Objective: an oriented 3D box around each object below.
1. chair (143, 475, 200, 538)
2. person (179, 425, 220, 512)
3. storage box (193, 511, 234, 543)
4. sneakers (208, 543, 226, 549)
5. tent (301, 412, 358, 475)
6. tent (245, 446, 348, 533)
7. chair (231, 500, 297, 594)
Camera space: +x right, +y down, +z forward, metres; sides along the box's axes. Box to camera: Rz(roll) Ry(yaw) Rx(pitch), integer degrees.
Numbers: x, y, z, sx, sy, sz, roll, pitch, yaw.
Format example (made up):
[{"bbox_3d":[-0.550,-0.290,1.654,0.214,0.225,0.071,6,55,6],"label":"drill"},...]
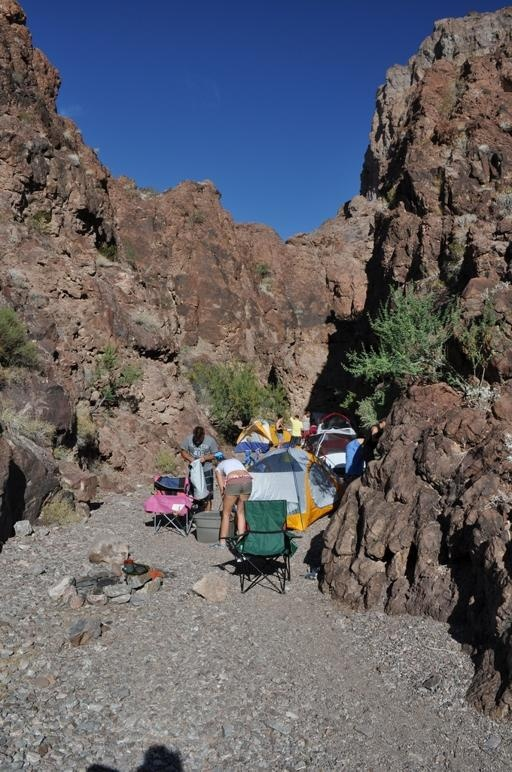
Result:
[{"bbox_3d":[-1.236,1.687,9.046,0.725,0.749,0.687,0,3,1],"label":"chair"},{"bbox_3d":[-0.807,1.244,9.347,0.537,1.355,0.469,-1,9,4],"label":"person"},{"bbox_3d":[-0.650,1.896,8.593,0.339,0.293,0.461,0,-17,2],"label":"storage box"},{"bbox_3d":[-0.521,2.091,8.376,0.233,0.107,0.083,4,-15,8],"label":"sneakers"},{"bbox_3d":[1.702,1.362,15.044,0.671,1.020,2.103,-3,-23,6],"label":"tent"},{"bbox_3d":[0.661,1.552,10.113,1.119,0.593,1.256,0,3,35],"label":"tent"},{"bbox_3d":[0.070,1.777,7.083,0.793,0.965,0.689,-3,-2,-11],"label":"chair"}]
